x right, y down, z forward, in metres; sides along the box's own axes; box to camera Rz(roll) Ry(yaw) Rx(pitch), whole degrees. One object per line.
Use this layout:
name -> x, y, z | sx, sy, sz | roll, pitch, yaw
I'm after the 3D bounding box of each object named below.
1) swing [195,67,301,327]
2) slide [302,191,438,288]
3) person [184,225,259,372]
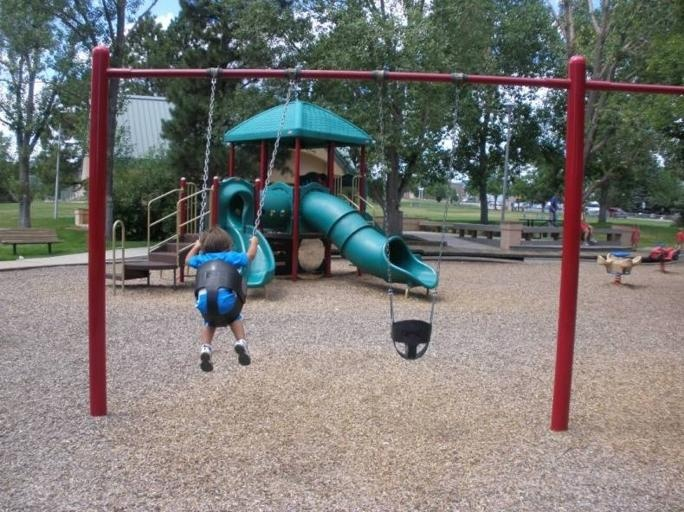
swing -> -1.367, -0.962, 8.874 | 1.096, 3.536, 0.921 | 9, -11, -2
slide -> 0.756, -0.221, 15.138 | 2.817, 2.030, 2.378 | -1, 11, -27
person -> -1.491, 0.549, 8.496 | 0.873, 1.723, 0.942 | 2, 10, -15
